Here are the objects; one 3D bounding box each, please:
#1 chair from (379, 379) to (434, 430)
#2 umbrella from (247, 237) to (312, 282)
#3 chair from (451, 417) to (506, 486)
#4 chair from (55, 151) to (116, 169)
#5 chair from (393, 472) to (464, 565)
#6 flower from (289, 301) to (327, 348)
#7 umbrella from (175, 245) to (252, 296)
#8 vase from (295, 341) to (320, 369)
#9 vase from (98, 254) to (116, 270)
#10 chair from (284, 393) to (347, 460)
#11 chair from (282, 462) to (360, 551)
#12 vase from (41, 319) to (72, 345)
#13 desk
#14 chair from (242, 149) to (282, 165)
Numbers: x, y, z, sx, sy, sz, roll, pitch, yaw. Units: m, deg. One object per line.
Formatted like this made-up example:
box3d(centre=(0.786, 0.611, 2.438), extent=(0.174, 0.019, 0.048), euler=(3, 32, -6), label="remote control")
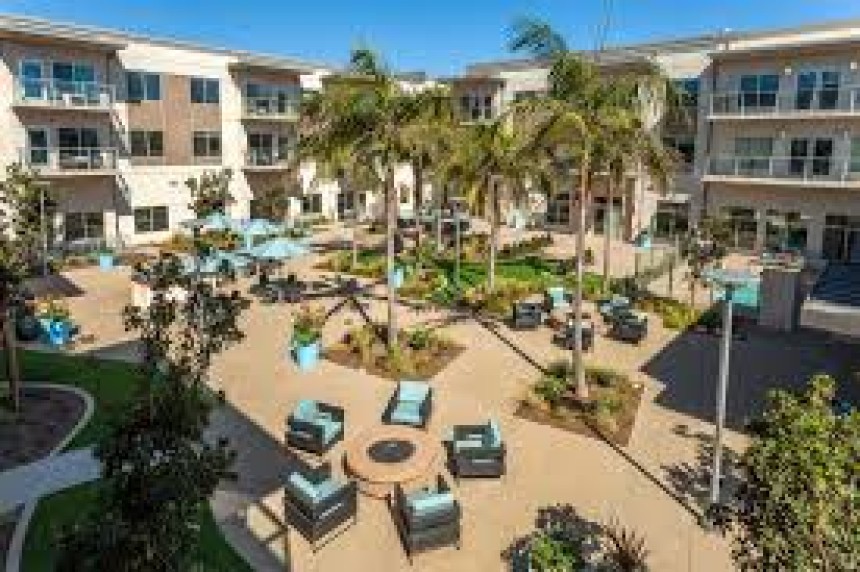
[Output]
box3d(centre=(-0.644, 3.626, 15.975), extent=(1.055, 1.342, 1.480), euler=(5, 9, 16), label="chair")
box3d(centre=(-6.492, -0.925, 24.094), extent=(1.968, 1.037, 2.030), euler=(14, 23, 35), label="umbrella")
box3d(centre=(1.311, 4.384, 14.402), extent=(1.330, 1.211, 1.452), euler=(0, 12, 2), label="chair")
box3d(centre=(-20.847, -7.687, 32.696), extent=(2.951, 1.219, 1.719), euler=(-10, 16, -32), label="chair")
box3d(centre=(-0.077, 5.290, 12.575), extent=(1.336, 1.397, 1.504), euler=(-7, 19, -28), label="chair")
box3d(centre=(-4.614, 1.500, 20.151), extent=(1.399, 1.233, 1.736), euler=(-2, 19, -9), label="flower")
box3d(centre=(-7.278, -0.461, 18.402), extent=(2.167, 0.980, 2.143), euler=(11, 24, 24), label="umbrella")
box3d(centre=(-4.407, 2.501, 19.499), extent=(0.883, 0.729, 0.876), euler=(0, 3, 8), label="vase")
box3d(centre=(-19.061, -1.477, 31.753), extent=(0.833, 0.693, 0.875), euler=(0, 9, -9), label="vase")
box3d(centre=(-3.239, 3.911, 15.126), extent=(1.324, 1.292, 1.516), euler=(6, 12, 4), label="chair")
box3d(centre=(-2.594, 5.062, 12.739), extent=(1.520, 1.435, 1.387), euler=(-11, 20, -35), label="chair")
box3d(centre=(-14.720, 1.701, 21.205), extent=(0.990, 0.855, 1.007), euler=(5, 10, 20), label="vase")
box3d(centre=(-1.035, 4.677, 14.298), extent=(2.384, 0.844, 2.480), euler=(2, 15, 11), label="desk")
box3d(centre=(-12.796, -9.931, 41.341), extent=(2.899, 1.255, 1.173), euler=(-11, 17, -34), label="chair")
